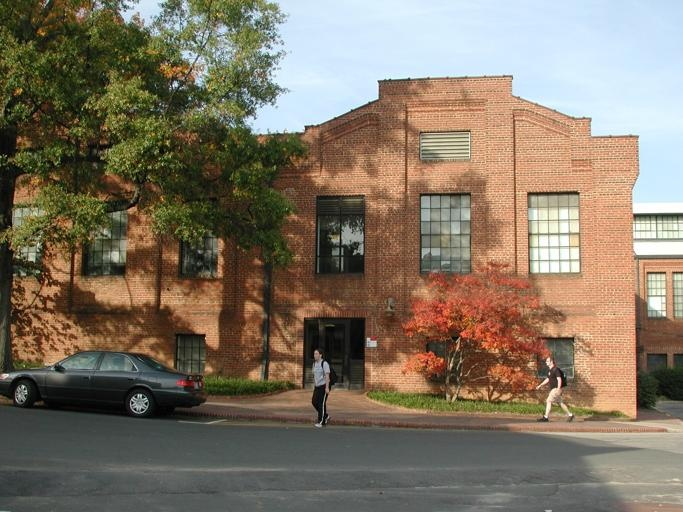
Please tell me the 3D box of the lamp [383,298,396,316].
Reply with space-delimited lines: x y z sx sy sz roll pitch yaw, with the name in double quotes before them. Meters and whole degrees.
"lamp" 1.925 1.985 46.162 0.462 0.771 0.382 2 -8 2
